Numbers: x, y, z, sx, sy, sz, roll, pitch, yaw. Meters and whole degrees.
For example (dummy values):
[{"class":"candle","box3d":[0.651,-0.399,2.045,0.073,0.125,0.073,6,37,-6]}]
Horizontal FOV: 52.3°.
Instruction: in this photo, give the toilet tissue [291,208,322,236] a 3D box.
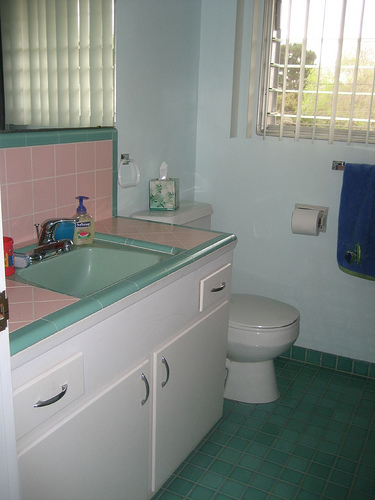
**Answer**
[{"class":"toilet tissue","box3d":[0.587,-0.144,1.908,0.143,0.155,0.118,8,16,24]}]

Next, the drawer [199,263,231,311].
[{"class":"drawer","box3d":[0.071,0.124,1.413,0.121,0.124,0.187,12,19,41]}]

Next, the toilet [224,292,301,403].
[{"class":"toilet","box3d":[0.306,0.500,1.888,0.473,0.446,0.320,16,6,-41]}]

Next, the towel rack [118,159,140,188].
[{"class":"towel rack","box3d":[-0.262,-0.344,1.689,0.017,0.138,0.120,5,13,25]}]

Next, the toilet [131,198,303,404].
[{"class":"toilet","box3d":[0.224,0.266,1.906,0.625,0.799,0.403,6,12,21]}]
